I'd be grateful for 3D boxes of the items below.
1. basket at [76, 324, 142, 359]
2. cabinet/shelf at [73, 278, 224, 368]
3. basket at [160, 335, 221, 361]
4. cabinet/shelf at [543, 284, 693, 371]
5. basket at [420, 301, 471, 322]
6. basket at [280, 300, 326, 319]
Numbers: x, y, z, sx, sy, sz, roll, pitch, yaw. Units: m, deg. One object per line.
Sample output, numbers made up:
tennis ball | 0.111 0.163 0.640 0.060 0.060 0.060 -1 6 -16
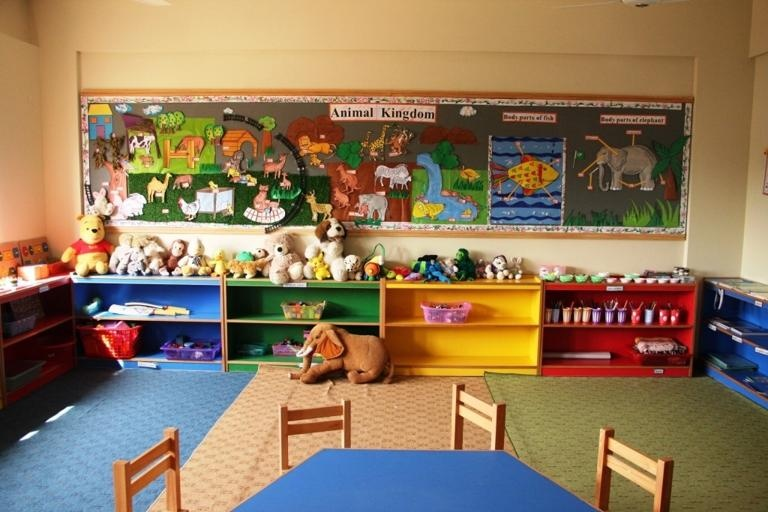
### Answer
basket | -3.102 0.958 6.434 0.593 0.310 0.386 0 -2 -3
cabinet/shelf | -2.713 0.740 6.448 1.150 0.639 0.342 0 0 -2
basket | -2.167 1.047 6.428 0.499 0.142 0.325 1 5 0
cabinet/shelf | 2.651 0.778 6.399 1.120 0.690 0.337 0 2 1
basket | 0.709 0.618 6.352 0.573 0.181 0.334 -1 11 3
basket | -0.910 0.601 6.442 0.514 0.173 0.328 -3 11 -6
